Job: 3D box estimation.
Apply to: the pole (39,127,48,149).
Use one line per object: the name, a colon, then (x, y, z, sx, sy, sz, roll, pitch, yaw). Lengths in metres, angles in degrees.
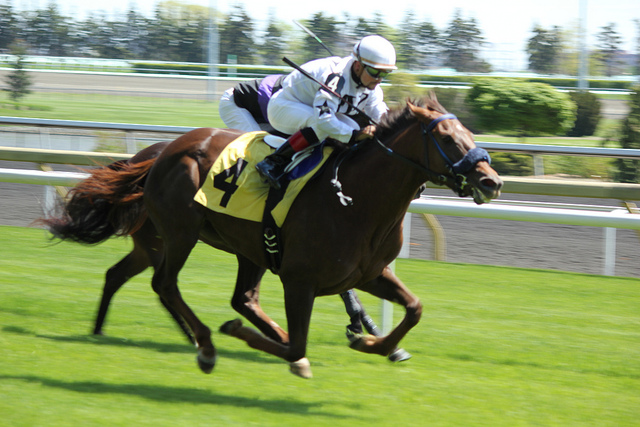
pole: (-4.703, -1.259, 11.134, 0.067, 0.343, 0.433, -11, 16, -26)

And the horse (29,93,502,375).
horse: (-0.484, -0.034, 4.462, 3.661, 1.300, 1.024, 5, 9, 28)

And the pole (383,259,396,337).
pole: (0.489, 0.610, 4.686, 0.094, 0.551, 0.035, 8, 12, 13)
